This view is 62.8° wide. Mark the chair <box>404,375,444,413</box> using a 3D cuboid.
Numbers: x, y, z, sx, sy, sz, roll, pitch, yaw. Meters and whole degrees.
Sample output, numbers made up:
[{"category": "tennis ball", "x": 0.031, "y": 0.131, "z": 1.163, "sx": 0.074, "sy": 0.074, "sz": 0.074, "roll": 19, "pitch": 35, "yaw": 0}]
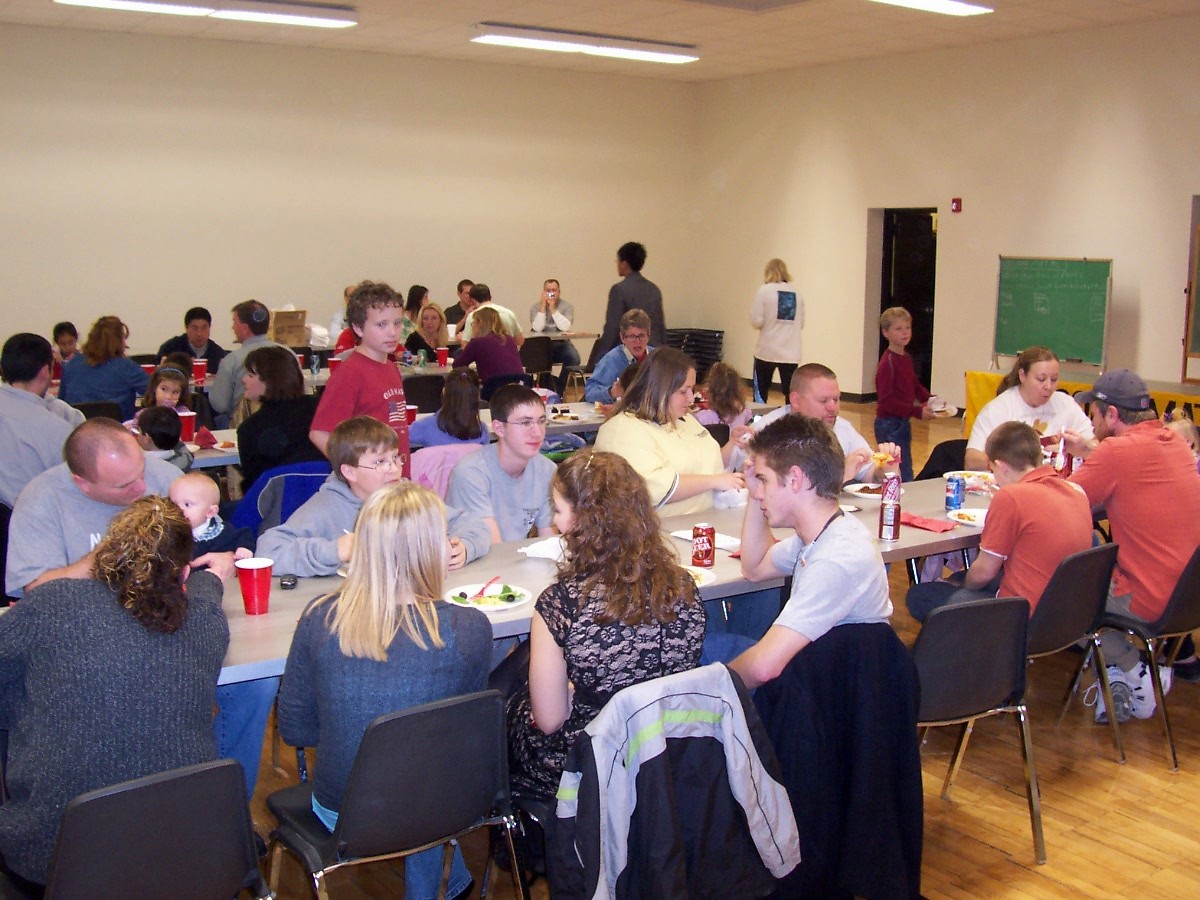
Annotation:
[{"category": "chair", "x": -1.304, "y": -0.429, "z": 7.323, "sx": 0.396, "sy": 0.317, "sz": 0.401, "roll": -1, "pitch": 4, "yaw": -16}]

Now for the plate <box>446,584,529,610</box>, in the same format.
[{"category": "plate", "x": -0.353, "y": 0.445, "z": 3.076, "sx": 0.249, "sy": 0.038, "sz": 0.250, "roll": -2, "pitch": 14, "yaw": -8}]

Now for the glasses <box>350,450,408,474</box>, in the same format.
[{"category": "glasses", "x": -0.733, "y": 0.045, "z": 3.253, "sx": 0.164, "sy": 0.102, "sz": 0.079, "roll": -9, "pitch": 16, "yaw": -33}]

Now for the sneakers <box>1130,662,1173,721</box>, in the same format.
[{"category": "sneakers", "x": 2.284, "y": 0.968, "z": 4.022, "sx": 0.182, "sy": 0.254, "sz": 0.230, "roll": 1, "pitch": 8, "yaw": 36}]

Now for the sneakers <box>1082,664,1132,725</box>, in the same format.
[{"category": "sneakers", "x": 2.101, "y": 0.977, "z": 4.100, "sx": 0.179, "sy": 0.249, "sz": 0.228, "roll": 2, "pitch": 5, "yaw": 41}]

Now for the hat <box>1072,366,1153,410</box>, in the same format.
[{"category": "hat", "x": 2.209, "y": -0.241, "z": 4.225, "sx": 0.175, "sy": 0.151, "sz": 0.248, "roll": -11, "pitch": 23, "yaw": -37}]

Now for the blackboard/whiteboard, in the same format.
[{"category": "blackboard/whiteboard", "x": 4.258, "y": -1.300, "z": 9.105, "sx": 0.149, "sy": 1.318, "sz": 1.346, "roll": -1, "pitch": 9, "yaw": -35}]

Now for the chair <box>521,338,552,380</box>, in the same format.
[{"category": "chair", "x": -0.651, "y": -0.931, "z": 9.996, "sx": 0.340, "sy": 0.468, "sz": 0.353, "roll": -3, "pitch": 14, "yaw": -17}]
